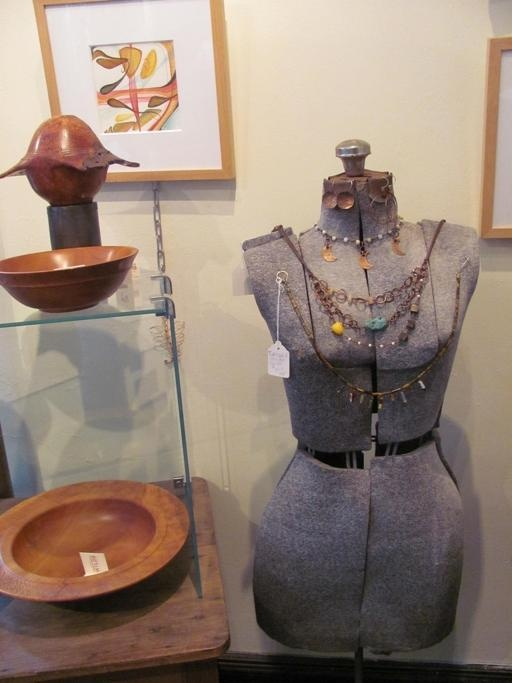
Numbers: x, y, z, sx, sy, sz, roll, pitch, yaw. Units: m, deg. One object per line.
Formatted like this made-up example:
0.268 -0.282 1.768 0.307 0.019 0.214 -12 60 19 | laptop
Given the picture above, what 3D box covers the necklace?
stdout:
0.205 -0.056 1.203 0.429 0.352 0.070 -3 -7 -2 | necklace
